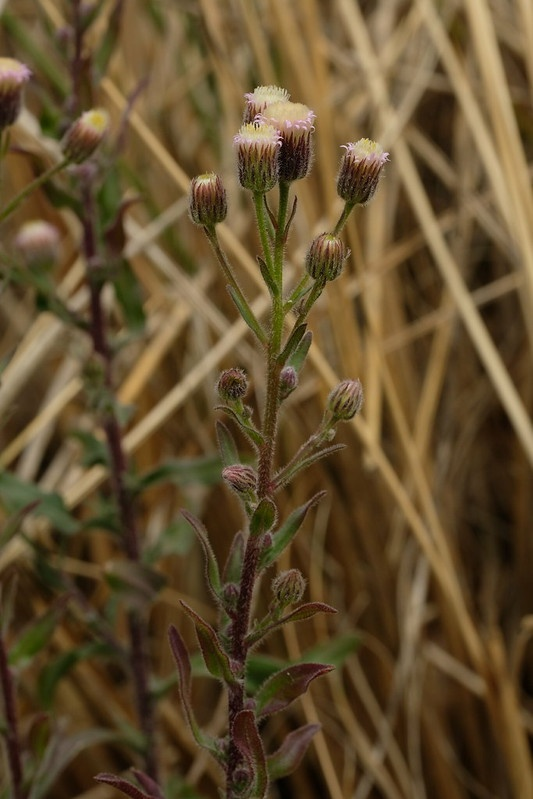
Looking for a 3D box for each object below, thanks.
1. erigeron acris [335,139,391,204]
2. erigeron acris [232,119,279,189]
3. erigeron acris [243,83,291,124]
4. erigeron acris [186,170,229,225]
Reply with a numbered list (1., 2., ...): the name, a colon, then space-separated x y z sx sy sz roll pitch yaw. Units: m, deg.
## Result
1. erigeron acris: 0.135 -0.315 1.417 0.061 0.088 0.071 0 16 -14
2. erigeron acris: -0.011 -0.320 1.365 0.058 0.082 0.061 -6 5 -34
3. erigeron acris: -0.005 -0.413 1.460 0.055 0.065 0.060 3 21 33
4. erigeron acris: -0.080 -0.273 1.389 0.053 0.056 0.052 -38 59 -25
